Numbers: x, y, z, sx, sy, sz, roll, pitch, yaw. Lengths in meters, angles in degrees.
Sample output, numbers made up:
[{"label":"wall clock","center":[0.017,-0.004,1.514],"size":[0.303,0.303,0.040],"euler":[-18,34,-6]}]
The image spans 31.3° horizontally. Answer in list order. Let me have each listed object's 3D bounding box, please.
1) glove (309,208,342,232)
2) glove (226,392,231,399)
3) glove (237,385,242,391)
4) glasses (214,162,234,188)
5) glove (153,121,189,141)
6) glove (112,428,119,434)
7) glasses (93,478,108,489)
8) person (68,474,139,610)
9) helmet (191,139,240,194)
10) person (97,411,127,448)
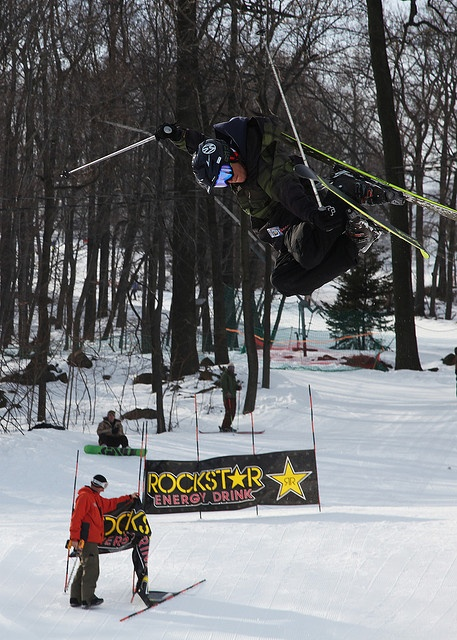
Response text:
[{"label":"glove","center":[0.900,-0.927,7.394],"size":[0.258,0.205,0.189],"euler":[-1,6,-8]},{"label":"glove","center":[-0.003,1.941,21.105],"size":[0.141,0.130,0.235],"euler":[0,-9,0]},{"label":"glove","center":[0.300,2.116,25.510],"size":[0.037,0.150,0.157],"euler":[4,3,40]},{"label":"glasses","center":[-0.035,-1.462,8.204],"size":[0.155,0.204,0.187],"euler":[10,-9,-44]},{"label":"glove","center":[-0.613,-2.057,8.800],"size":[0.199,0.122,0.266],"euler":[0,3,28]},{"label":"glove","center":[-2.558,2.485,18.310],"size":[0.127,0.120,0.030],"euler":[6,-19,-22]},{"label":"glasses","center":[-1.773,2.252,11.257],"size":[0.165,0.078,0.135],"euler":[10,1,-13]},{"label":"person","center":[-1.844,2.977,11.155],"size":[0.429,1.666,0.833],"euler":[2,6,20]},{"label":"helmet","center":[-0.108,-1.552,8.296],"size":[0.516,0.465,0.384],"euler":[-12,-22,-34]},{"label":"person","center":[-2.631,2.470,18.268],"size":[0.670,0.938,0.797],"euler":[6,-22,-29]}]
